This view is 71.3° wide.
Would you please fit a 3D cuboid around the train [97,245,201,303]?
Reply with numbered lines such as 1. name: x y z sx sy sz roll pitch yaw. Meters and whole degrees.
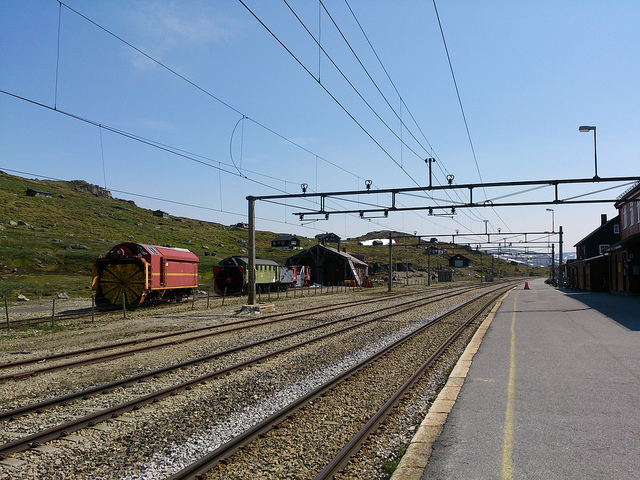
1. train: -12.838 2.630 34.601 3.941 4.356 10.296 0 -5 9

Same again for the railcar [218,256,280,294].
1. railcar: -8.119 4.109 52.465 3.579 4.184 12.128 -4 -6 9

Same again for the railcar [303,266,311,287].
1. railcar: -2.427 6.092 74.991 0.634 3.197 3.758 -1 -5 6

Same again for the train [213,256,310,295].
1. train: -6.858 4.301 55.532 3.914 4.247 16.316 0 -4 22
